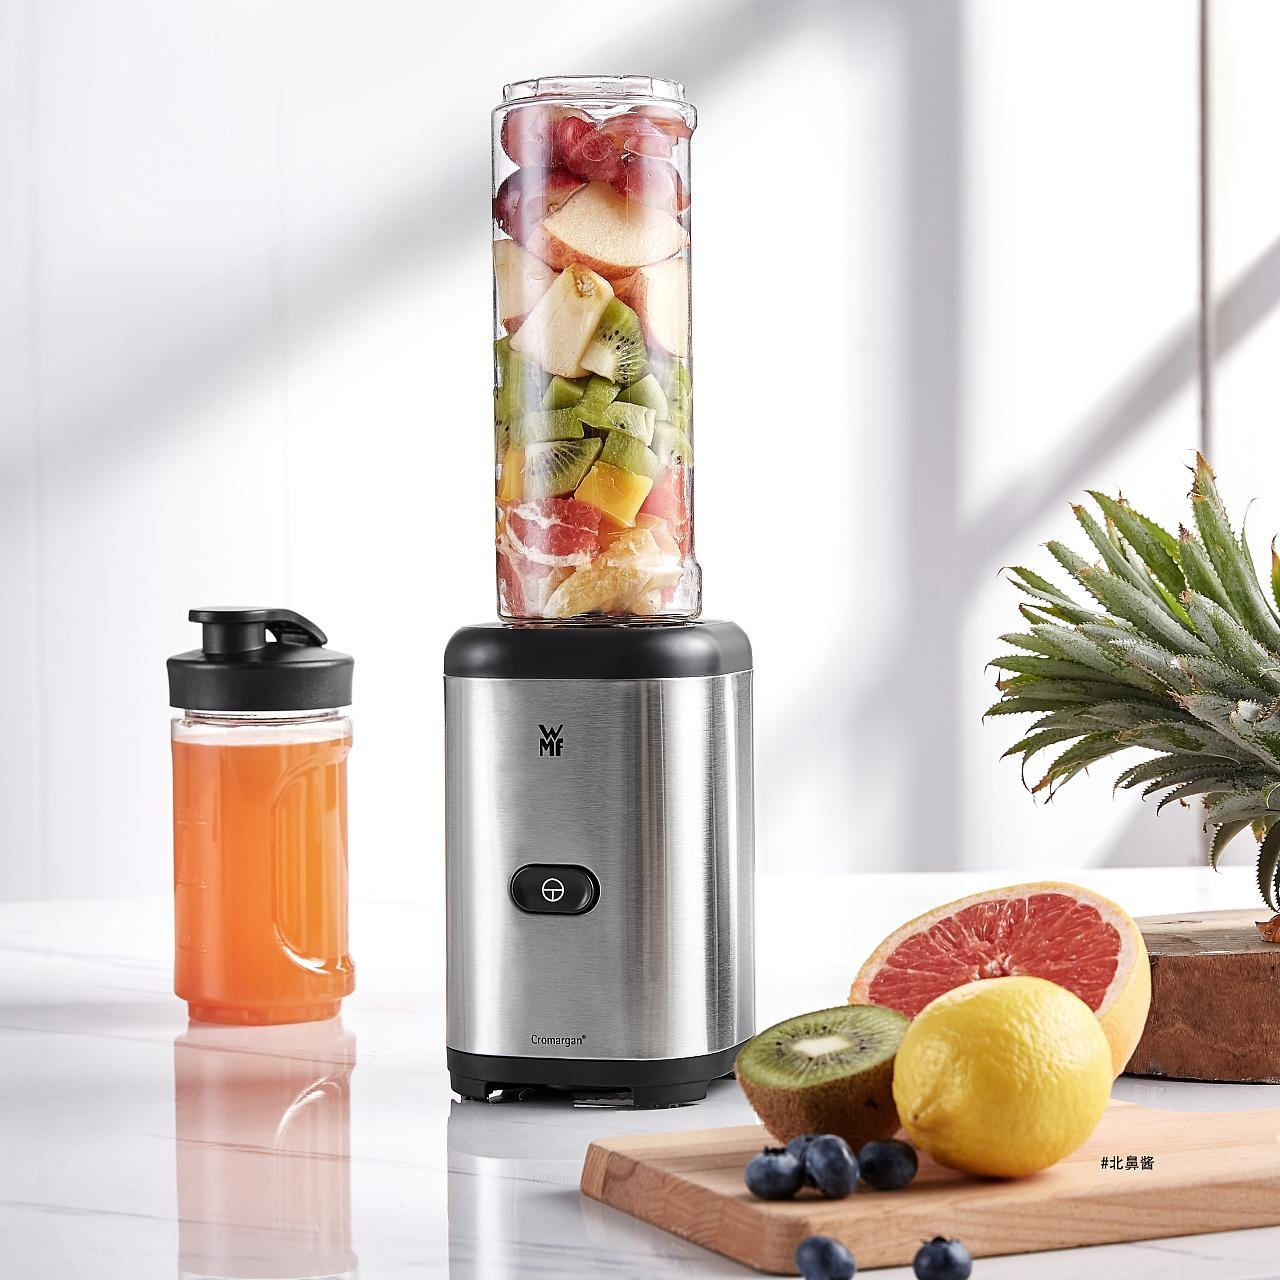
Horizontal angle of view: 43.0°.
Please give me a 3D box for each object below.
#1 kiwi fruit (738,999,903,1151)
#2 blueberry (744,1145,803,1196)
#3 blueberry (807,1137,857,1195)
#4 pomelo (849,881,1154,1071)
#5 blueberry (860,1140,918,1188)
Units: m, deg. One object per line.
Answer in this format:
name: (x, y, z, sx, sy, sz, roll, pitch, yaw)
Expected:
kiwi fruit: (0.070, 0.161, 0.624, 0.062, 0.029, 0.054, -14, 14, 5)
blueberry: (0.045, 0.184, 0.559, 0.022, 0.014, 0.018, -2, -2, -1)
blueberry: (0.066, 0.183, 0.561, 0.017, 0.020, 0.023, -5, -1, 9)
pomelo: (0.166, 0.140, 0.738, 0.120, 0.062, 0.105, -23, 21, 21)
blueberry: (0.088, 0.183, 0.568, 0.018, 0.012, 0.020, 1, -3, 3)
